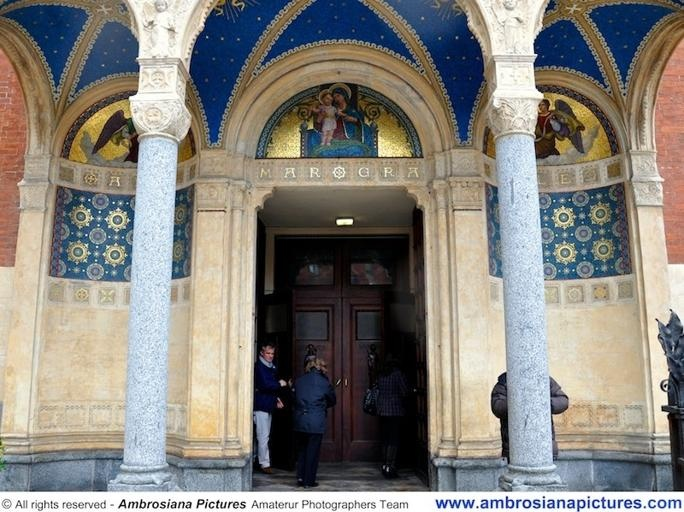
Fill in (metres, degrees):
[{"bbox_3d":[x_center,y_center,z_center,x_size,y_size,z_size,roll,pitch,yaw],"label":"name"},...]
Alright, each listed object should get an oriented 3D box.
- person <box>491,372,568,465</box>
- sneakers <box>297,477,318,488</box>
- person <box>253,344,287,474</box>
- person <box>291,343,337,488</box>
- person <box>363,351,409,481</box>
[{"bbox_3d":[2.223,1.901,8.614,0.836,1.043,1.545,-4,-13,12],"label":"person"},{"bbox_3d":[-0.534,3.345,10.775,0.263,0.256,0.164,-7,-16,21],"label":"sneakers"},{"bbox_3d":[-1.141,2.434,11.603,0.518,1.981,1.212,0,-13,-4],"label":"person"},{"bbox_3d":[-0.425,2.490,11.217,0.596,2.001,1.037,0,-13,-3],"label":"person"},{"bbox_3d":[0.742,2.578,11.615,0.690,1.836,0.425,-5,-14,19],"label":"person"}]
